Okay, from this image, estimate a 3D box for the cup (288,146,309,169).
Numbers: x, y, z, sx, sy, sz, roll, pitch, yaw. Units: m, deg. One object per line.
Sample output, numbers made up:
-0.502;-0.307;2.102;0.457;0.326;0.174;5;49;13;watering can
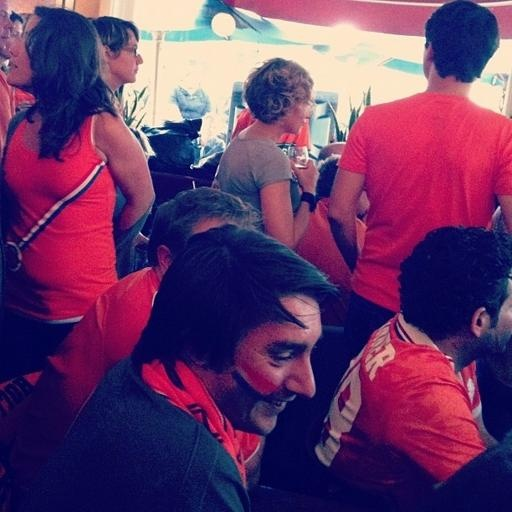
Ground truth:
0.163;-0.385;1.950;0.091;0.113;0.075;-6;8;-35;cup
